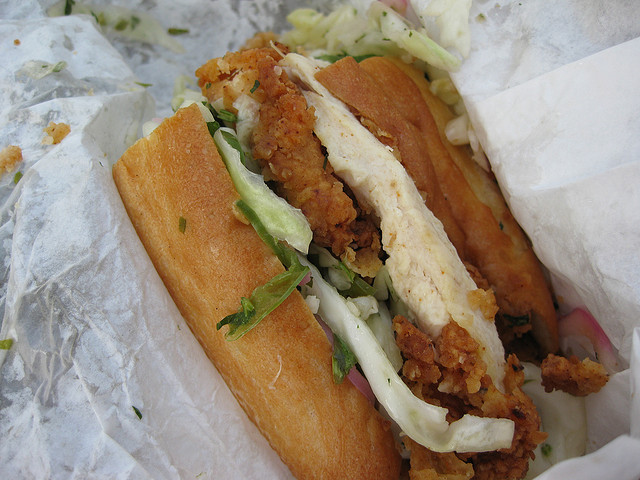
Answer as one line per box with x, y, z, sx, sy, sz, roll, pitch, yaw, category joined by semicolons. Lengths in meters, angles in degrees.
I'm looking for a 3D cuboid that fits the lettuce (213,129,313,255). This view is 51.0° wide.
-0.127;-0.091;1.605;0.107;0.090;0.411;-27;78;-13;lettuce

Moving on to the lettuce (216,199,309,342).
-0.114;0.008;1.503;0.408;0.093;0.290;-52;132;-62;lettuce

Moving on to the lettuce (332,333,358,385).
0.051;0.277;1.557;0.060;0.021;0.095;44;54;-14;lettuce
